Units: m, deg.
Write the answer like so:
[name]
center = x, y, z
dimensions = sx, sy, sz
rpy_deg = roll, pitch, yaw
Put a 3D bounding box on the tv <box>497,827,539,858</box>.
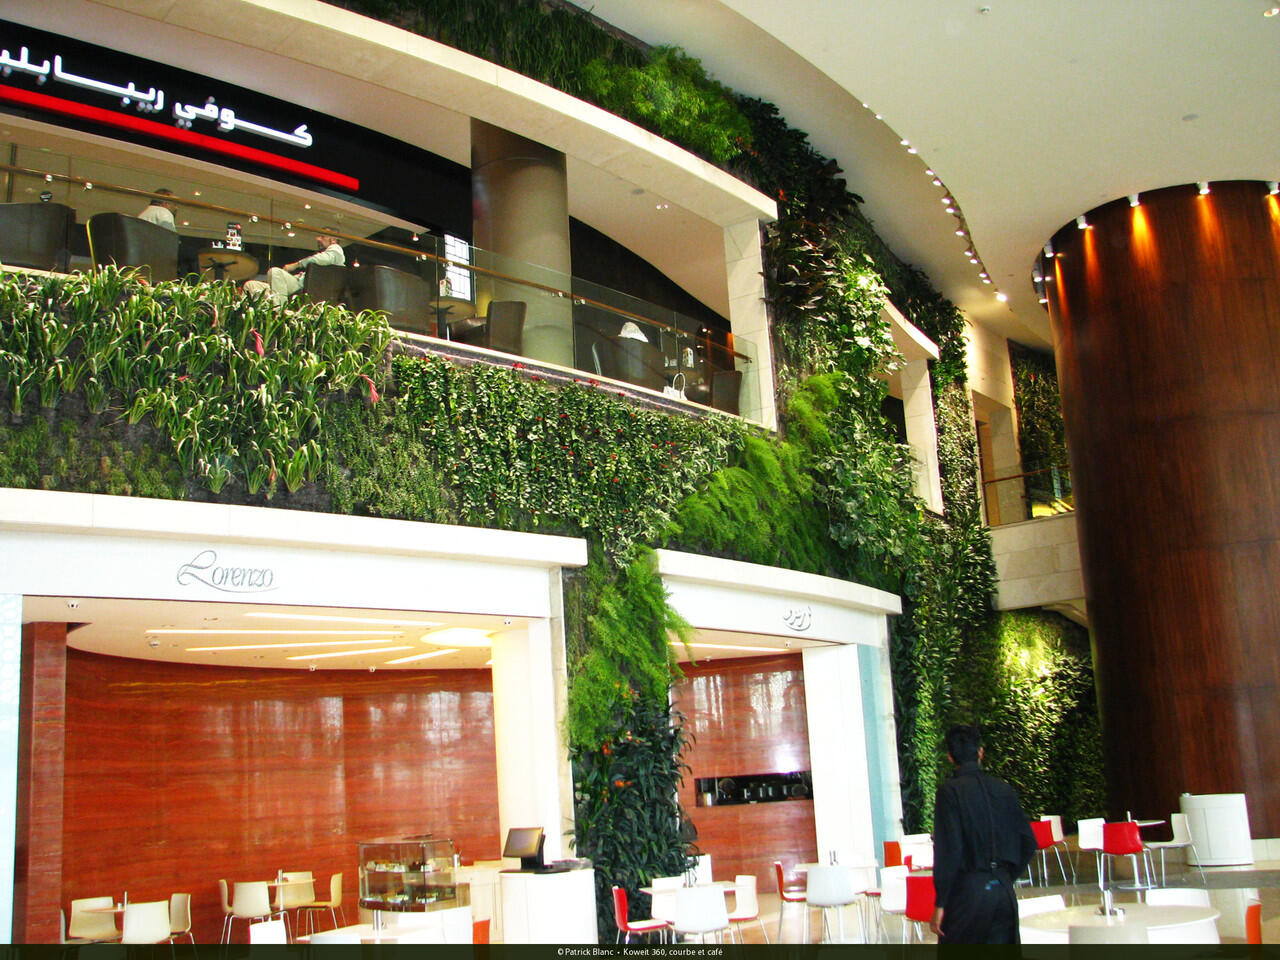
[tv]
center = -1.107, 3.246, 9.971
dimensions = 0.260, 0.259, 0.490
rpy_deg = 11, -21, -41
